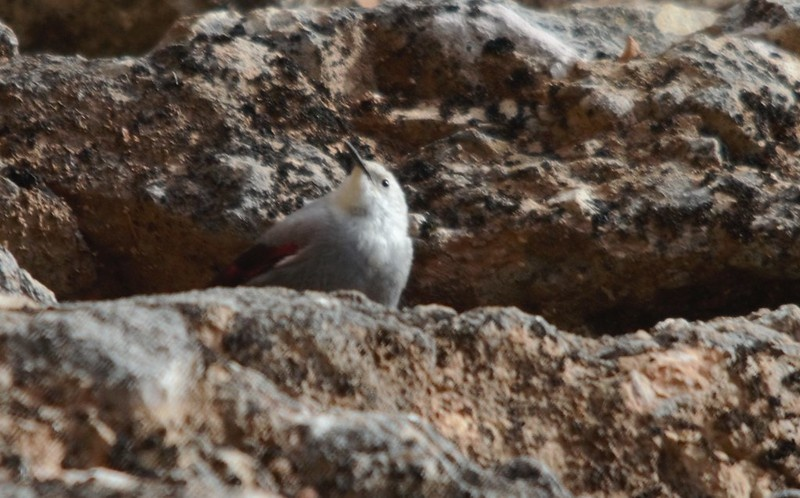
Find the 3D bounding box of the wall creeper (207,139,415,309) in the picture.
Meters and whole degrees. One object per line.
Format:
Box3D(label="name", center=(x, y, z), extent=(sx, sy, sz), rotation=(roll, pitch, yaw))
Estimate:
Box3D(label="wall creeper", center=(-0.498, -0.016, 9.425), extent=(0.614, 1.052, 0.713), rotation=(31, 46, -51))
